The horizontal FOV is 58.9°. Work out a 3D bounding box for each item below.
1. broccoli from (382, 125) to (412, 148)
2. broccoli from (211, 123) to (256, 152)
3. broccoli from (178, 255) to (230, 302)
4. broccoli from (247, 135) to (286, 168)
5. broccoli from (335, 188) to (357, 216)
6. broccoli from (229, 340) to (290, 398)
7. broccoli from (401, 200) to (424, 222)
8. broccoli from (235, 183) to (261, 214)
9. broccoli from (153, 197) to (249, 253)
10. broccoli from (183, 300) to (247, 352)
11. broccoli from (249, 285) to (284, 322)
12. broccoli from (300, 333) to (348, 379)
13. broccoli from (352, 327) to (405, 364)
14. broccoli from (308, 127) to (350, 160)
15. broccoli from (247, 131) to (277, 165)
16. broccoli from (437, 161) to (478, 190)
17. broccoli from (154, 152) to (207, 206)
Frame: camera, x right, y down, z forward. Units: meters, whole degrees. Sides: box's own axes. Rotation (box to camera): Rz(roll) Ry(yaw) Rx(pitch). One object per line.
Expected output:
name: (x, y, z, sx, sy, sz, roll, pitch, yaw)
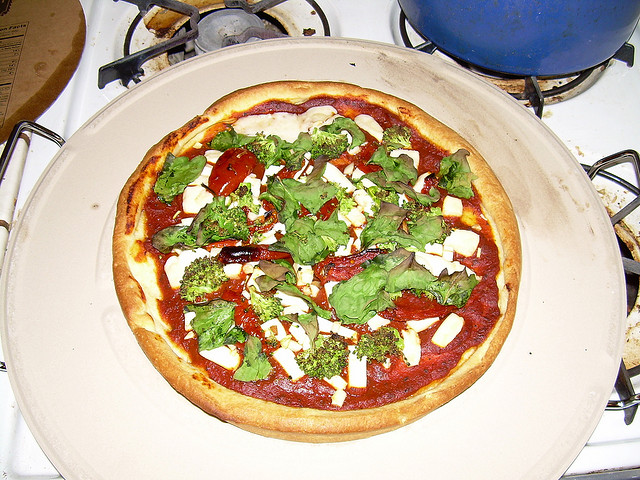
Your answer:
broccoli: (0.465, -0.622, 3.386, 0.129, 0.056, 0.134, -18, 85, -9)
broccoli: (-0.525, -0.581, 3.298, 0.163, 0.054, 0.164, 26, 73, 2)
broccoli: (-0.638, 0.205, 3.063, 0.215, 0.102, 0.236, -11, 48, 9)
broccoli: (-0.303, -0.493, 3.200, 0.169, 0.063, 0.162, -44, 93, 12)
broccoli: (0.148, -0.214, 3.180, 0.124, 0.048, 0.134, 14, 68, -43)
broccoli: (-0.306, 0.688, 3.000, 0.351, 0.080, 0.250, 14, 86, 0)
broccoli: (0.527, -0.169, 3.175, 0.114, 0.041, 0.114, 12, 59, -21)
broccoli: (-0.396, -0.218, 3.178, 0.120, 0.046, 0.179, 6, 64, -24)
broccoli: (-0.629, -0.077, 3.053, 0.452, 0.125, 0.270, -12, 87, -3)
broccoli: (-0.544, 0.454, 2.990, 0.280, 0.077, 0.277, 1, 86, -6)
broccoli: (-0.288, 0.335, 3.106, 0.143, 0.110, 0.194, -44, 78, 9)
broccoli: (0.025, 0.617, 3.022, 0.200, 0.101, 0.227, -9, 71, 3)
broccoli: (0.286, 0.535, 3.035, 0.169, 0.084, 0.227, -30, 96, -48)
broccoli: (0.053, -0.558, 3.303, 0.188, 0.103, 0.186, -38, 78, -23)
broccoli: (-0.327, -0.527, 3.308, 0.140, 0.083, 0.160, -3, 75, 3)
broccoli: (0.789, -0.353, 3.308, 0.156, 0.068, 0.167, -32, 47, 3)
broccoli: (-0.809, -0.357, 3.333, 0.220, 0.087, 0.330, 22, 79, -2)
